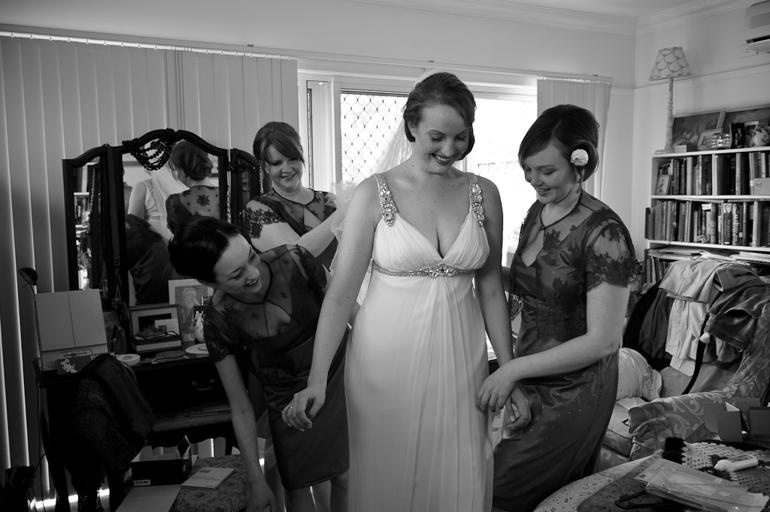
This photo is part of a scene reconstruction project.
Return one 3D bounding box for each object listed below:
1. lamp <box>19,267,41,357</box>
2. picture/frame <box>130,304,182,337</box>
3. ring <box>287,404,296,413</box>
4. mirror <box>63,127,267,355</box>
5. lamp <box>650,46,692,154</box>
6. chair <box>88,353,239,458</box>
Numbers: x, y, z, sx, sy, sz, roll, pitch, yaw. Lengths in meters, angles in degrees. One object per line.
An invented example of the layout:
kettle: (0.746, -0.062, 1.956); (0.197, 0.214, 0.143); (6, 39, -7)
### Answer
lamp: (-2.290, 0.365, 4.026); (0.086, 0.553, 0.131); (-5, 1, 15)
picture/frame: (-1.613, 0.437, 4.336); (0.335, 0.338, 0.185); (0, -6, -23)
ring: (-0.403, 0.662, 2.690); (0.026, 0.039, 0.038); (4, -12, -31)
mirror: (-1.485, -0.066, 3.986); (1.397, 1.806, 0.118); (-2, 2, -28)
lamp: (2.854, -1.570, 6.200); (0.351, 1.024, 0.516); (1, 7, 27)
chair: (-1.449, 0.957, 4.148); (0.861, 0.882, 0.492); (-3, 1, -4)
